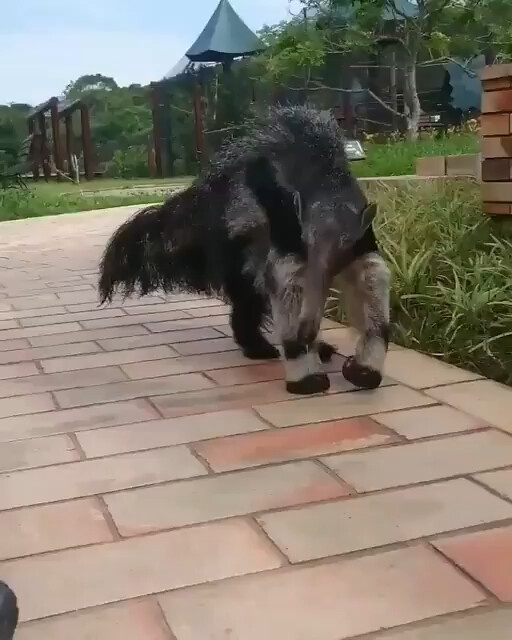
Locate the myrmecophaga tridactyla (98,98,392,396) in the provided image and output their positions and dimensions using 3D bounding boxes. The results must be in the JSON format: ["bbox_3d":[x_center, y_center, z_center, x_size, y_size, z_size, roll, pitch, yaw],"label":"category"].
[{"bbox_3d":[-0.034,-0.303,2.589,0.477,1.202,1.250,-11,14,-38],"label":"myrmecophaga tridactyla"}]
